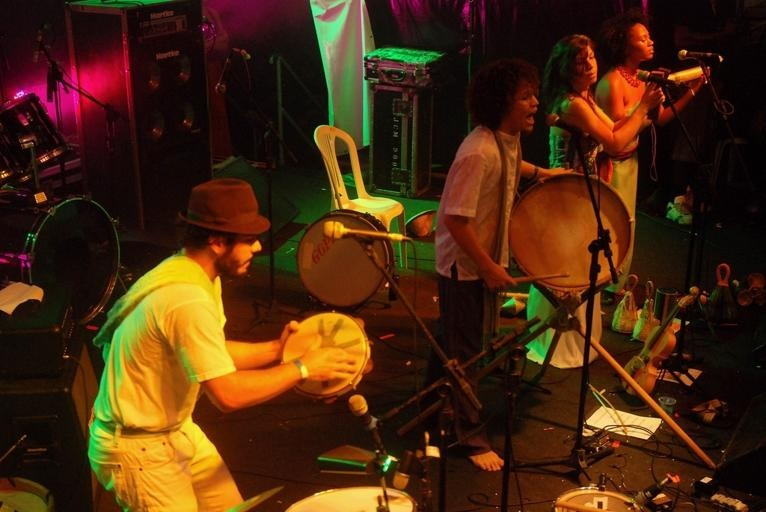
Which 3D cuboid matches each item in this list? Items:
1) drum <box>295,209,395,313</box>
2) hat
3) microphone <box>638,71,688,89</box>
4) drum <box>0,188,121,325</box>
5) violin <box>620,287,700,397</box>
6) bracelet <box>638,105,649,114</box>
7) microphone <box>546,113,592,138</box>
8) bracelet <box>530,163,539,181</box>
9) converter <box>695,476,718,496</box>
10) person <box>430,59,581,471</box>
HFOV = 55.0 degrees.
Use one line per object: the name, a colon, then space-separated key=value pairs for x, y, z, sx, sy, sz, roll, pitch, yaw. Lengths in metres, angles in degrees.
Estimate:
drum: x=-0.401 y=0.026 z=7.408 sx=0.909 sy=0.964 sz=0.559 roll=0 pitch=24 yaw=4
hat: x=-0.949 y=-0.297 z=4.390 sx=0.567 sy=0.281 sz=0.507 roll=-1 pitch=19 yaw=-8
microphone: x=2.272 y=-1.455 z=6.048 sx=0.267 sy=0.144 sz=0.506 roll=4 pitch=11 yaw=34
drum: x=-3.318 y=0.020 z=7.395 sx=0.898 sy=1.170 sz=1.186 roll=5 pitch=9 yaw=32
violin: x=2.531 y=0.818 z=6.676 sx=0.261 sy=1.214 sz=0.470 roll=18 pitch=16 yaw=-25
bracelet: x=2.262 y=-1.275 z=6.372 sx=0.057 sy=0.055 sz=0.014 roll=24 pitch=20 yaw=3
microphone: x=1.275 y=-0.899 z=5.082 sx=0.264 sy=0.160 sz=0.389 roll=-3 pitch=9 yaw=-10
bracelet: x=1.220 y=-0.670 z=5.926 sx=0.034 sy=0.122 sz=0.123 roll=8 pitch=-19 yaw=-16
converter: x=2.411 y=1.729 z=5.479 sx=0.139 sy=0.106 sz=0.134 roll=-10 pitch=12 yaw=-40
person: x=0.785 y=0.107 z=5.581 sx=0.764 sy=3.127 sz=0.560 roll=-1 pitch=10 yaw=3
